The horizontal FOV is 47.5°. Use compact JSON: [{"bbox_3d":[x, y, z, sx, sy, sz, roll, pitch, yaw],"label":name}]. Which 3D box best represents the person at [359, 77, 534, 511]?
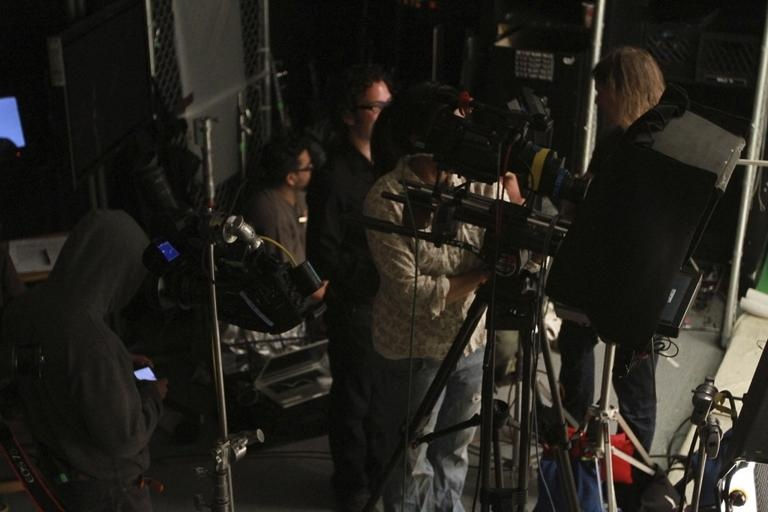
[{"bbox_3d":[0.243,0.367,4.665,0.705,2.409,1.173,1,3,5],"label":"person"}]

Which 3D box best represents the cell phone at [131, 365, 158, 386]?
[{"bbox_3d":[-1.405,0.698,5.144,0.108,0.029,0.114,-4,40,-33],"label":"cell phone"}]

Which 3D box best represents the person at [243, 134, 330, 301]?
[{"bbox_3d":[-0.562,-0.226,5.235,0.570,1.135,0.480,-1,48,0],"label":"person"}]

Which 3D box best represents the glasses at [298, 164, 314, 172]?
[{"bbox_3d":[-0.524,-0.590,5.851,0.088,0.025,0.089,-9,17,-16],"label":"glasses"}]

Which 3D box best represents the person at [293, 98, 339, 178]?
[{"bbox_3d":[-0.443,-0.772,5.804,0.273,0.247,0.734,-29,4,2],"label":"person"}]
